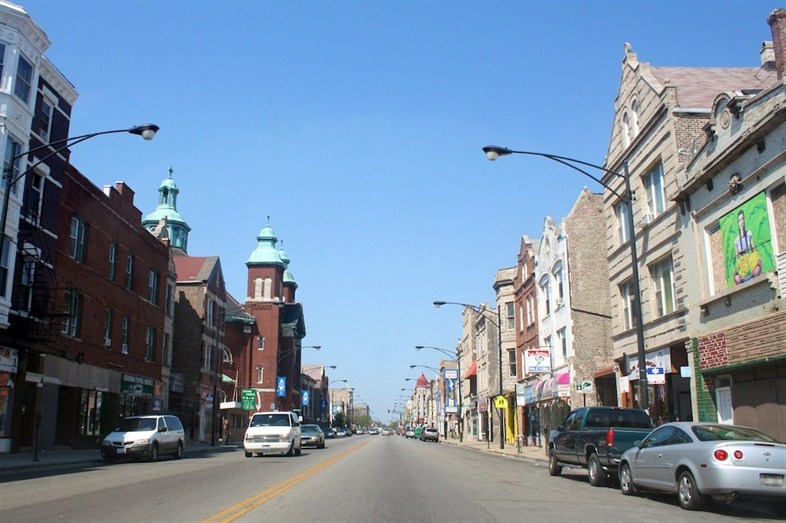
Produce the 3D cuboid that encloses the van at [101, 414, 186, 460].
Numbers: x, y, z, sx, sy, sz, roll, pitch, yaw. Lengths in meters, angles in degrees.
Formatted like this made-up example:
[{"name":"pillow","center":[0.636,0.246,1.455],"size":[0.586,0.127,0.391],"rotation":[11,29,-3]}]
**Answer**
[{"name":"van","center":[-11.551,8.310,31.508],"size":[1.838,2.217,5.144],"rotation":[0,-8,2]}]
